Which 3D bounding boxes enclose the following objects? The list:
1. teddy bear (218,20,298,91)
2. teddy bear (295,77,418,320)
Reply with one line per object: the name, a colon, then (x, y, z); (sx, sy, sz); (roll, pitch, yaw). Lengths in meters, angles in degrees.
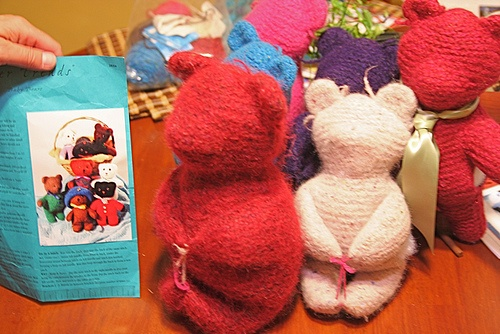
teddy bear: (0.016, -0.165, 0.633); (0.099, 0.077, 0.105); (22, 40, 0)
teddy bear: (0.151, 0.047, 0.631); (0.161, 0.332, 0.170); (2, 26, 21)
